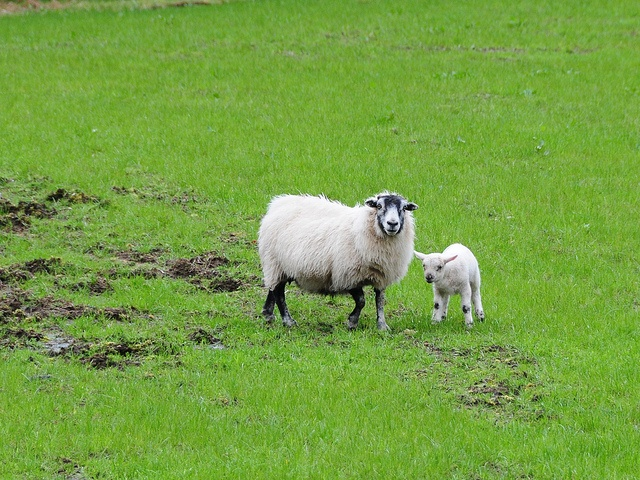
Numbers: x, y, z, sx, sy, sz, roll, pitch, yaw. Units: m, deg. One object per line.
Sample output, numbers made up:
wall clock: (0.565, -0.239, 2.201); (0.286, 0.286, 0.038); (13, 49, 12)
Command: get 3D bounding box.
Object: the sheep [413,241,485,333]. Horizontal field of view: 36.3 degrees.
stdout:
sheep: (3.290, 1.155, 24.777); (1.129, 2.142, 2.581); (0, 4, 25)
